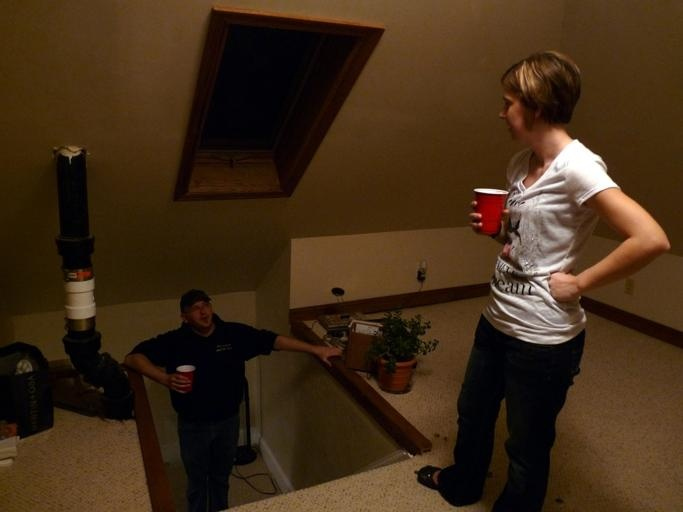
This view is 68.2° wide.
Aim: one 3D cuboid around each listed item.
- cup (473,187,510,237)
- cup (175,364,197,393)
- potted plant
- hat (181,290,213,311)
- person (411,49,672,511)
[{"bbox_3d":[0.557,-0.162,1.885,0.119,0.154,0.123,1,3,0],"label":"cup"},{"bbox_3d":[-0.890,0.706,2.860,0.087,0.163,0.106,-1,20,-20],"label":"cup"},{"bbox_3d":[0.406,0.608,3.134,0.304,0.417,0.285,5,5,14],"label":"potted plant"},{"bbox_3d":[-0.919,0.264,3.156,0.157,0.096,0.132,-27,0,12],"label":"hat"},{"bbox_3d":[0.684,0.280,1.855,0.286,1.905,0.663,-4,21,-27],"label":"person"}]
